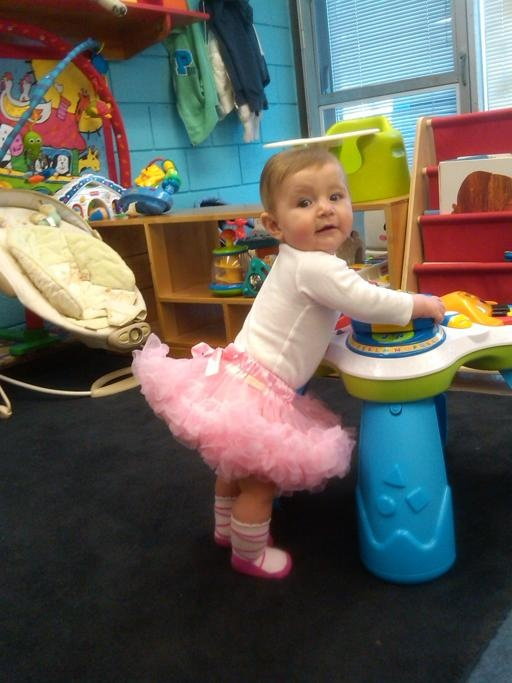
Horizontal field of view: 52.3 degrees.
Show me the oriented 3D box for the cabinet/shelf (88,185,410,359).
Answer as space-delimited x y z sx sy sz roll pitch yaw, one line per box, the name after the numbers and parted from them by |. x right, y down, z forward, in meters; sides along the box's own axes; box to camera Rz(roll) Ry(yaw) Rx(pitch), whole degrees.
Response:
0.084 -0.101 2.021 1.140 0.506 0.378 -19 2 18 | cabinet/shelf
